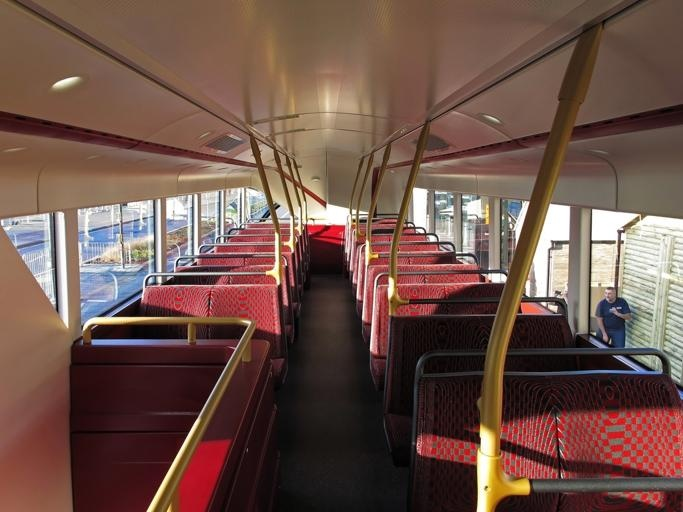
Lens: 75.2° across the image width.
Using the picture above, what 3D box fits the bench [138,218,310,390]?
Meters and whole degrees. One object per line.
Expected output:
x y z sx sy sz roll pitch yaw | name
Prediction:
-1.113 0.385 5.024 1.202 0.906 2.233 0 14 1 | bench
